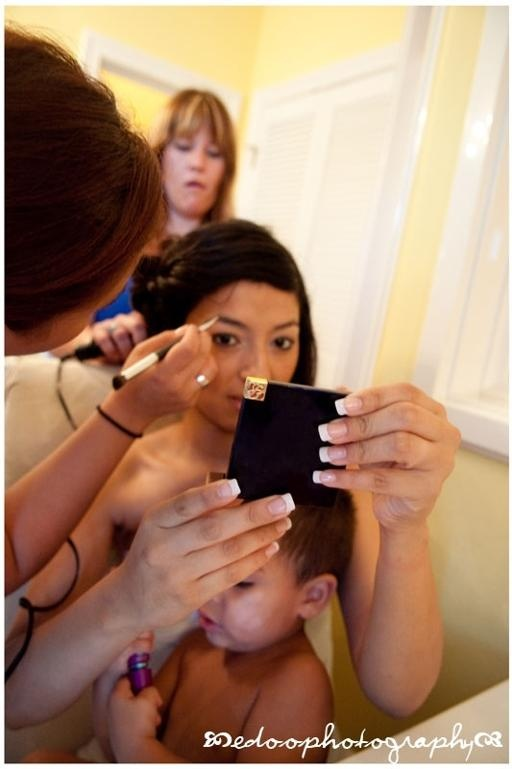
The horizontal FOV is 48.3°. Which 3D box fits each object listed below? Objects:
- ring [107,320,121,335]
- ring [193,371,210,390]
[{"bbox_3d":[-0.167,-0.068,0.669,0.013,0.025,0.013,6,22,-2],"label":"ring"},{"bbox_3d":[-0.060,-0.006,0.632,0.019,0.021,0.012,-8,41,38],"label":"ring"}]
